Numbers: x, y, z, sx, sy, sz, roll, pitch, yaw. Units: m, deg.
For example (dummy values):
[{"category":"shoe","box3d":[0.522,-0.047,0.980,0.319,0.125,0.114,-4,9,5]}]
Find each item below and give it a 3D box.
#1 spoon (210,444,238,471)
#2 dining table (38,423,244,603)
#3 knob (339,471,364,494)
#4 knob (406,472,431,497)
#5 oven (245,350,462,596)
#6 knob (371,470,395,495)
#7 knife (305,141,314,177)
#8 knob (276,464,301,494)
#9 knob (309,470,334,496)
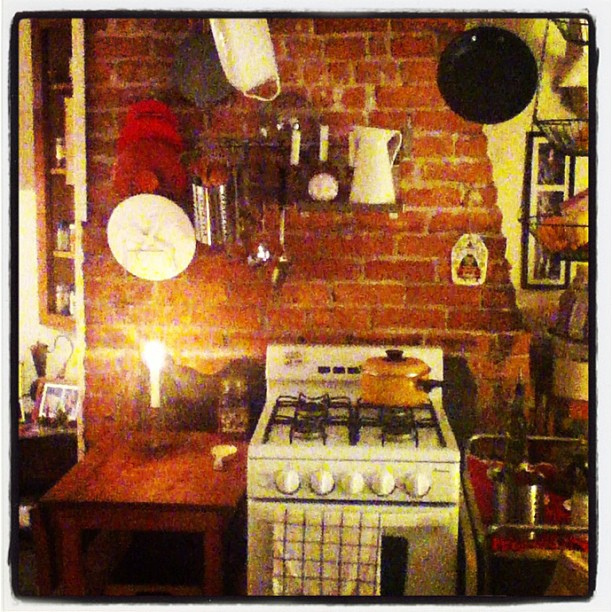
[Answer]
[{"category":"spoon","box3d":[-0.240,0.437,2.639,0.060,0.070,0.020,6,-21,-22]},{"category":"dining table","box3d":[-0.451,0.723,2.823,0.625,0.513,0.665,-1,13,-16]},{"category":"knob","box3d":[0.122,0.472,2.441,0.053,0.062,0.019,3,4,18]},{"category":"knob","box3d":[0.304,0.477,2.429,0.056,0.064,0.015,1,4,-12]},{"category":"oven","box3d":[0.147,0.591,2.682,0.571,0.886,0.476,-1,15,-2]},{"category":"knob","box3d":[0.208,0.473,2.439,0.064,0.060,0.031,-2,-35,6]},{"category":"knife","box3d":[0.005,-0.444,2.666,0.019,0.055,0.050,8,-36,-8]},{"category":"knob","box3d":[-0.049,0.462,2.445,0.054,0.068,0.021,-3,-13,2]},{"category":"knob","box3d":[0.042,0.471,2.442,0.055,0.066,0.022,-1,-5,-1]}]
